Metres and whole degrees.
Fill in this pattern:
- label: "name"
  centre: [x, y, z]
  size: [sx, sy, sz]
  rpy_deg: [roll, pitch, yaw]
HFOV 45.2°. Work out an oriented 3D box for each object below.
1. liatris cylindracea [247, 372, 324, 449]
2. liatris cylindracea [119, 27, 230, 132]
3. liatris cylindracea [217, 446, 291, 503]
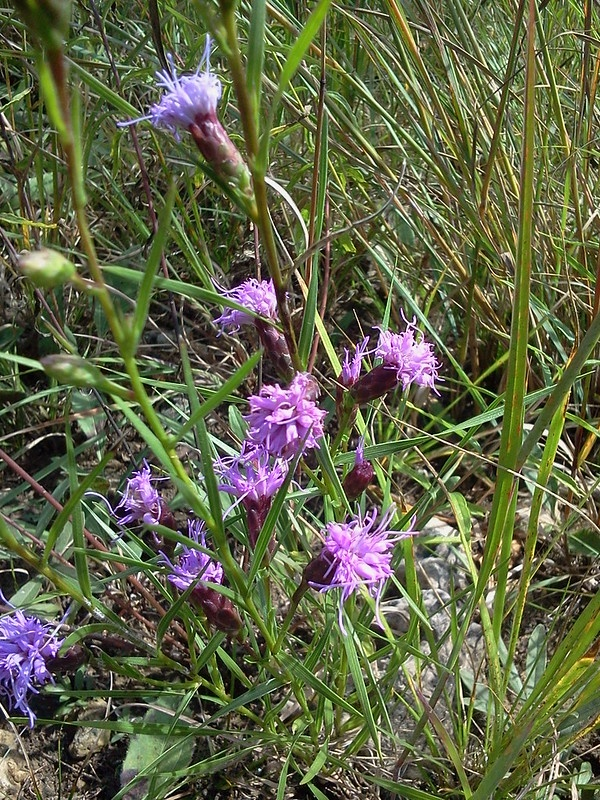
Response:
- label: "liatris cylindracea"
  centre: [-0.031, 0.015, 0.823]
  size: [0.079, 0.079, 0.087]
  rpy_deg: [19, 15, -12]
- label: "liatris cylindracea"
  centre: [-0.121, -0.310, 0.769]
  size: [0.077, 0.083, 0.078]
  rpy_deg: [14, 51, 4]
- label: "liatris cylindracea"
  centre: [-0.065, 0.081, 0.896]
  size: [0.081, 0.051, 0.079]
  rpy_deg: [-5, 21, -10]
